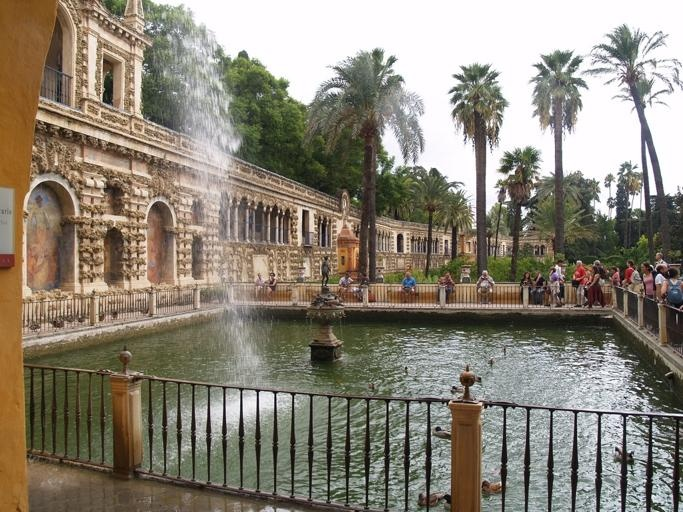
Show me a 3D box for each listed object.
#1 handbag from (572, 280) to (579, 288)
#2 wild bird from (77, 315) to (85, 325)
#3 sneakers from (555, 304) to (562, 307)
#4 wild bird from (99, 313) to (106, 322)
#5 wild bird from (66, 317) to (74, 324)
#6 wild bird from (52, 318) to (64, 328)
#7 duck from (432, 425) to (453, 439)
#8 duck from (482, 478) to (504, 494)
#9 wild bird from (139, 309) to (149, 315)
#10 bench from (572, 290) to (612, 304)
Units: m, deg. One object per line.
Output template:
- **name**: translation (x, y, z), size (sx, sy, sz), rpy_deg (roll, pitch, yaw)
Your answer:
- **handbag**: translation (9.134, 1.056, 26.024), size (0.156, 0.286, 0.335), rpy_deg (2, -3, -37)
- **wild bird**: translation (-8.059, 1.936, 20.581), size (0.294, 0.345, 0.292), rpy_deg (0, -6, -5)
- **sneakers**: translation (8.399, 1.867, 25.778), size (0.221, 0.164, 0.637), rpy_deg (-1, -3, 19)
- **wild bird**: translation (-7.575, 1.908, 21.145), size (0.177, 0.135, 0.257), rpy_deg (1, -3, -7)
- **wild bird**: translation (-8.166, 1.906, 20.134), size (0.196, 0.258, 0.179), rpy_deg (4, 0, -12)
- **wild bird**: translation (-8.300, 1.955, 19.545), size (0.324, 0.287, 0.354), rpy_deg (4, -1, -23)
- **duck**: translation (1.942, 3.361, 12.925), size (0.335, 0.265, 0.508), rpy_deg (0, -3, 2)
- **duck**: translation (2.523, 3.814, 11.133), size (0.430, 0.215, 0.203), rpy_deg (2, -3, -38)
- **wild bird**: translation (-6.929, 1.917, 23.507), size (0.284, 0.209, 0.285), rpy_deg (1, -3, -25)
- **bench**: translation (9.651, 1.523, 25.522), size (1.400, 0.686, 1.356), rpy_deg (-1, -3, 20)
